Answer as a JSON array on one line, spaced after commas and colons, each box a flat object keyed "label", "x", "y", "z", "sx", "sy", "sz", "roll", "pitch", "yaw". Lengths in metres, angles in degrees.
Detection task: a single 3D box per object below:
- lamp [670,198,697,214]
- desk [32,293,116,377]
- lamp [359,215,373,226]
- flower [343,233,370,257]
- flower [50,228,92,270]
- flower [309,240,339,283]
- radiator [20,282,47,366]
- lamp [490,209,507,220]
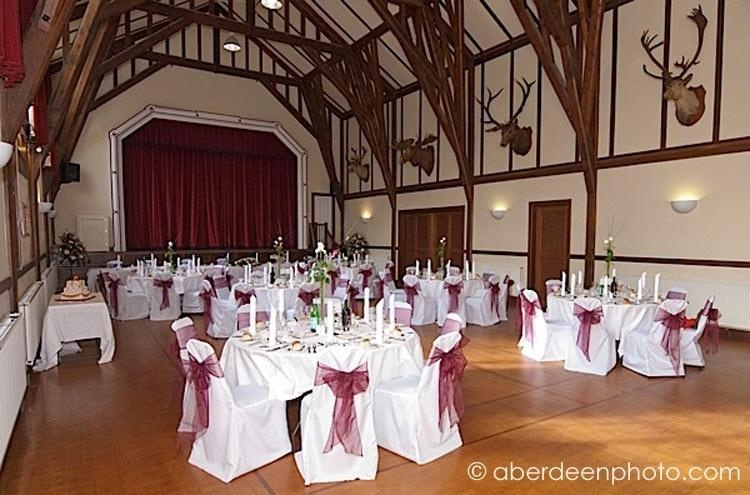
[{"label": "lamp", "x": 6.366, "y": -0.852, "z": 10.600, "sx": 0.293, "sy": 0.208, "sz": 0.306, "roll": 0, "pitch": -1, "yaw": -25}, {"label": "desk", "x": -5.264, "y": 1.505, "z": 9.036, "sx": 1.065, "sy": 0.881, "sz": 1.152, "roll": 4, "pitch": -2, "yaw": -30}, {"label": "lamp", "x": -0.306, "y": -0.983, "z": 18.401, "sx": 0.306, "sy": 0.295, "sz": 0.299, "roll": 1, "pitch": 3, "yaw": 27}, {"label": "flower", "x": -0.695, "y": -0.071, "z": 18.272, "sx": 0.724, "sy": 0.539, "sz": 0.791, "roll": -5, "pitch": 8, "yaw": 1}, {"label": "flower", "x": -8.588, "y": 0.123, "z": 14.613, "sx": 0.989, "sy": 1.052, "sz": 0.706, "roll": 0, "pitch": -1, "yaw": -13}, {"label": "flower", "x": -0.783, "y": 0.304, "z": 7.628, "sx": 0.403, "sy": 0.647, "sz": 0.445, "roll": -9, "pitch": 11, "yaw": -24}, {"label": "radiator", "x": -5.736, "y": 1.320, "z": 8.641, "sx": 0.142, "sy": 0.866, "sz": 1.147, "roll": -1, "pitch": 12, "yaw": -17}, {"label": "lamp", "x": 3.311, "y": -0.895, "z": 13.760, "sx": 0.231, "sy": 0.206, "sz": 0.330, "roll": -1, "pitch": -1, "yaw": -14}]
